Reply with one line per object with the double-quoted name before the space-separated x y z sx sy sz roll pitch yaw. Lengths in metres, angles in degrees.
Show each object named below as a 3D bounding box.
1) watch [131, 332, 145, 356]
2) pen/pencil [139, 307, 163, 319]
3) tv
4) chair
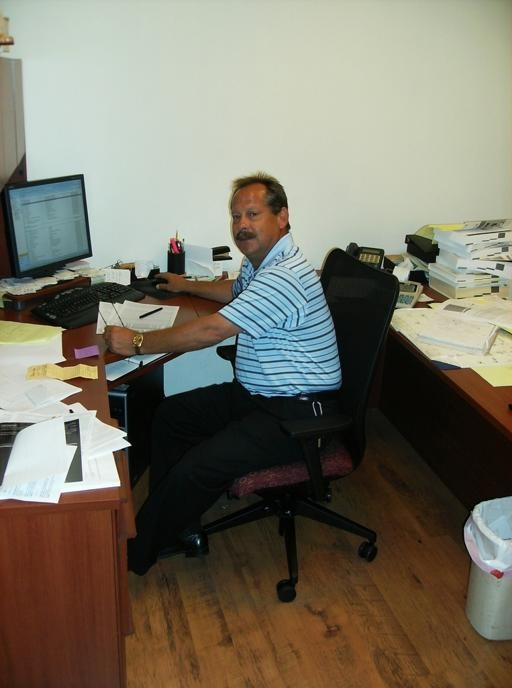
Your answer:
"watch" -0.356 -0.001 1.662 0.040 0.059 0.064 5 14 14
"pen/pencil" -0.376 -0.109 1.954 0.100 0.010 0.011 -23 28 -31
"tv" -0.776 -0.426 2.012 0.054 0.286 0.412 11 19 18
"chair" 0.093 0.227 1.761 0.689 0.954 0.626 10 27 27
